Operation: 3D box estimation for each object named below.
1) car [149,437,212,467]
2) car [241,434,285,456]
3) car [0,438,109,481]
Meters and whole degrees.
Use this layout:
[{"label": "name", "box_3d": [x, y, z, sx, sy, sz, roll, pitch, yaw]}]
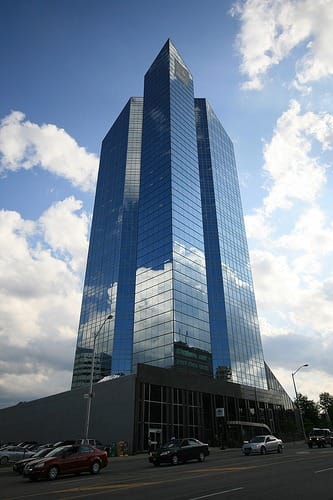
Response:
[{"label": "car", "box_3d": [0.790, 12.184, 22.509, 4.175, 1.489, 1.740, 20, -39, -36]}, {"label": "car", "box_3d": [7.102, 14.590, 27.147, 1.184, 1.188, 3.789, -25, -34, 38]}, {"label": "car", "box_3d": [-4.389, 9.555, 16.437, 0.790, 1.264, 3.920, -19, -31, 31]}]
